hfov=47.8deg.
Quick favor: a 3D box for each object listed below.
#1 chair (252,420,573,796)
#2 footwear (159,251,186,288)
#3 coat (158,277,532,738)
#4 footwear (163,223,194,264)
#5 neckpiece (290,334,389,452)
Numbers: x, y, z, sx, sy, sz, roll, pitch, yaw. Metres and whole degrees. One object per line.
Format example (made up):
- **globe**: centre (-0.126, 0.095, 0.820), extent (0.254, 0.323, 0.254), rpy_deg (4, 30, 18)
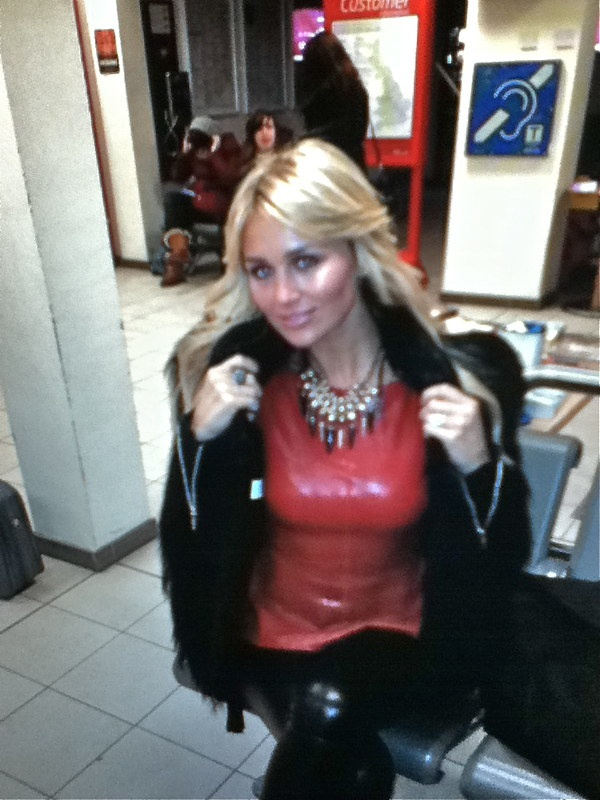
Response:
- **chair**: centre (0.245, 0.377, 1.756), extent (0.885, 1.009, 0.794), rpy_deg (1, -1, -7)
- **footwear**: centre (-1.388, -1.413, 7.364), extent (0.293, 0.368, 0.151), rpy_deg (-7, 12, -38)
- **coat**: centre (-0.013, 0.169, 1.587), extent (0.734, 0.867, 0.288), rpy_deg (2, 4, 10)
- **footwear**: centre (-1.339, -1.693, 7.355), extent (0.315, 0.372, 0.180), rpy_deg (-4, 8, -8)
- **neckpiece**: centre (0.074, -0.011, 1.339), extent (0.156, 0.196, 0.050), rpy_deg (-11, -25, 28)
